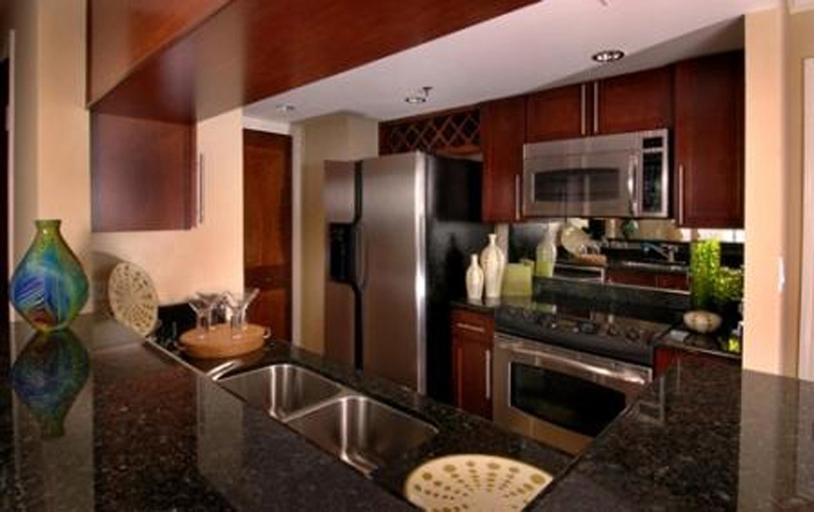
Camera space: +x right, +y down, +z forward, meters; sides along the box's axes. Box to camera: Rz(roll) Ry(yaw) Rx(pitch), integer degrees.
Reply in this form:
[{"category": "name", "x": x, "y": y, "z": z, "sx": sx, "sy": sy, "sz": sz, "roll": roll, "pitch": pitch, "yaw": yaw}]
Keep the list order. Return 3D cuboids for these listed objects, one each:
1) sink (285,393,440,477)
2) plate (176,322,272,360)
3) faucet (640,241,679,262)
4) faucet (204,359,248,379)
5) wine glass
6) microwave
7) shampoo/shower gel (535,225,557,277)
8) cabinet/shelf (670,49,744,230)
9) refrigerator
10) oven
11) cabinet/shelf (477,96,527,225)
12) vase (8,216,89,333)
[{"category": "sink", "x": -0.168, "y": 0.664, "z": 2.260, "sx": 0.381, "sy": 0.194, "sz": 0.491, "roll": 0, "pitch": 3, "yaw": -44}, {"category": "plate", "x": -0.860, "y": 0.395, "z": 2.757, "sx": 0.374, "sy": 0.065, "sz": 0.378, "roll": 5, "pitch": 11, "yaw": 29}, {"category": "faucet", "x": 1.632, "y": -0.039, "z": 3.888, "sx": 0.068, "sy": 0.128, "sz": 0.316, "roll": 1, "pitch": 7, "yaw": -27}, {"category": "faucet", "x": -0.780, "y": 0.475, "z": 2.544, "sx": 0.082, "sy": 0.071, "sz": 0.271, "roll": 7, "pitch": 3, "yaw": 4}, {"category": "wine glass", "x": -0.892, "y": 0.274, "z": 2.854, "sx": 0.257, "sy": 0.171, "sz": 0.270, "roll": 1, "pitch": 2, "yaw": 15}, {"category": "microwave", "x": 1.248, "y": -0.480, "z": 3.805, "sx": 0.378, "sy": 0.512, "sz": 0.960, "roll": -2, "pitch": 5, "yaw": -43}, {"category": "shampoo/shower gel", "x": 1.015, "y": -0.042, "z": 4.303, "sx": 0.165, "sy": 0.388, "sz": 0.100, "roll": 3, "pitch": 9, "yaw": 27}, {"category": "cabinet/shelf", "x": 1.656, "y": -0.630, "z": 3.239, "sx": 0.367, "sy": 0.929, "sz": 0.165, "roll": 3, "pitch": 8, "yaw": 26}, {"category": "refrigerator", "x": -0.057, "y": 0.144, "z": 4.161, "sx": 1.125, "sy": 1.702, "sz": 0.597, "roll": 0, "pitch": 8, "yaw": 5}, {"category": "oven", "x": 1.110, "y": 0.886, "z": 3.632, "sx": 0.546, "sy": 0.642, "sz": 1.020, "roll": 3, "pitch": 3, "yaw": -43}, {"category": "cabinet/shelf", "x": 0.768, "y": -0.657, "z": 4.196, "sx": 0.275, "sy": 0.695, "sz": 0.389, "roll": 13, "pitch": -8, "yaw": -34}, {"category": "vase", "x": -1.410, "y": 0.079, "z": 2.306, "sx": 0.270, "sy": 0.430, "sz": 0.118, "roll": -4, "pitch": 8, "yaw": -26}]
